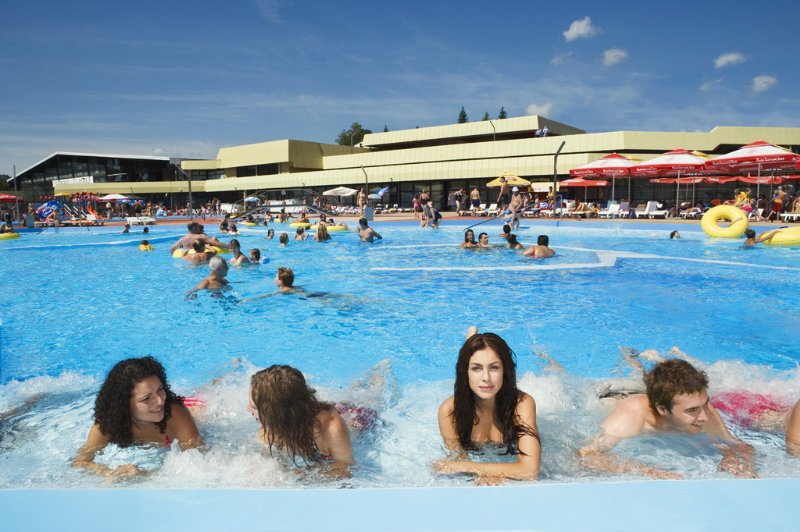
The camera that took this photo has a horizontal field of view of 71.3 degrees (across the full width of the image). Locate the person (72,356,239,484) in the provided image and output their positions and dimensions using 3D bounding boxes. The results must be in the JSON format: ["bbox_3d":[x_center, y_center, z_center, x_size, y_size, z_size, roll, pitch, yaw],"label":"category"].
[{"bbox_3d":[-2.024,1.232,4.646,0.899,0.738,1.390,-7,-6,13],"label":"person"}]

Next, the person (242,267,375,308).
[{"bbox_3d":[-1.529,0.458,9.311,1.303,0.338,0.923,6,10,37],"label":"person"}]

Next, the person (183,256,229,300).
[{"bbox_3d":[-3.182,0.215,9.791,0.474,0.727,1.449,0,6,18],"label":"person"}]

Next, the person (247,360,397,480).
[{"bbox_3d":[-0.774,1.199,4.358,0.800,0.845,0.277,0,13,4],"label":"person"}]

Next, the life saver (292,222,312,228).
[{"bbox_3d":[-3.813,-1.613,21.682,0.719,0.179,0.689,-1,2,-15],"label":"life saver"}]

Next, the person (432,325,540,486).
[{"bbox_3d":[0.670,1.073,4.283,0.820,1.109,0.507,2,13,12],"label":"person"}]
